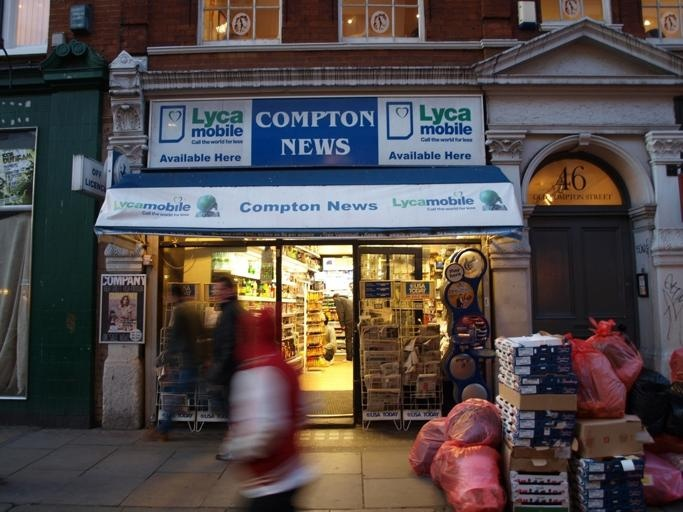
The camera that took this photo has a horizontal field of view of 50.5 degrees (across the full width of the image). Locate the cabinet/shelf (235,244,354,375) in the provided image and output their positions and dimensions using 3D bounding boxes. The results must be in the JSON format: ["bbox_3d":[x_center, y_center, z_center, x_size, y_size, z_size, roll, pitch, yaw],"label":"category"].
[{"bbox_3d":[-0.796,0.849,12.699,0.918,2.370,2.559,-2,-5,13],"label":"cabinet/shelf"}]
